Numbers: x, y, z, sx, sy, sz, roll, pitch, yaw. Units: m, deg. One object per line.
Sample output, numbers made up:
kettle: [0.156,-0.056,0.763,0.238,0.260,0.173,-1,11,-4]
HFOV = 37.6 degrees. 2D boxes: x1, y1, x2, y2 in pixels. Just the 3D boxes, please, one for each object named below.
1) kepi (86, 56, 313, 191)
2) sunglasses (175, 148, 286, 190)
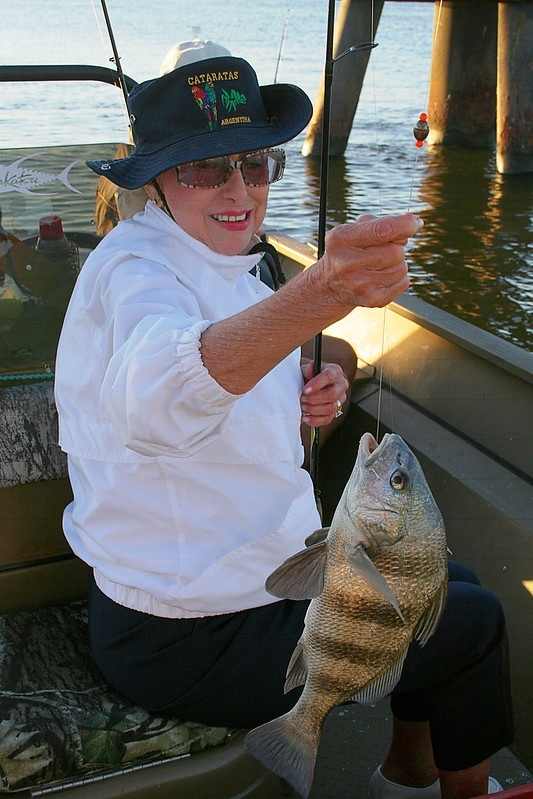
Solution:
kepi: [-0.077,-0.573,1.589,0.489,0.225,0.286,-18,34,-29]
sunglasses: [-0.070,-0.460,1.578,0.166,0.043,0.164,-19,25,-39]
